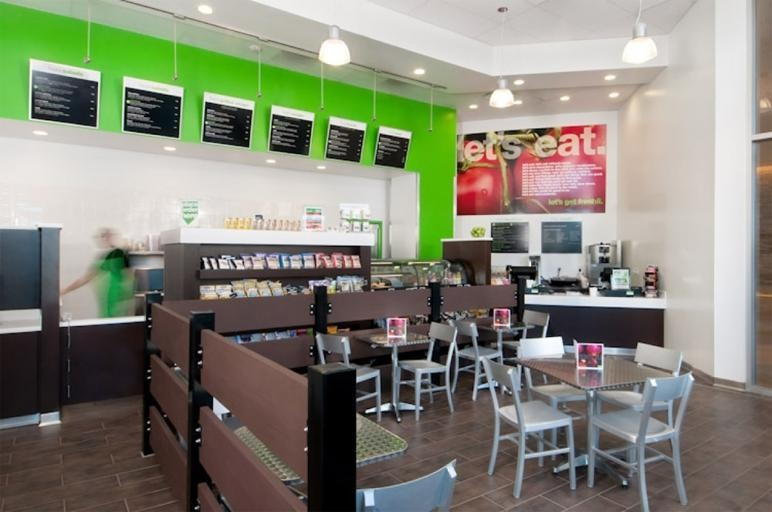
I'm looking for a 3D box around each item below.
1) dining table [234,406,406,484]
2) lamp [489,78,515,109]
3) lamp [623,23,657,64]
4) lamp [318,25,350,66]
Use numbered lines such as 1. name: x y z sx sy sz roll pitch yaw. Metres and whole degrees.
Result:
1. dining table: -0.494 1.486 4.200 1.268 0.484 0.609 -1 2 -2
2. lamp: 1.414 -1.999 6.677 0.238 0.384 0.372 0 3 15
3. lamp: 2.584 -2.182 5.595 0.251 0.394 0.195 -2 3 -17
4. lamp: -0.540 -2.215 5.721 0.336 0.357 0.326 -11 31 -20
